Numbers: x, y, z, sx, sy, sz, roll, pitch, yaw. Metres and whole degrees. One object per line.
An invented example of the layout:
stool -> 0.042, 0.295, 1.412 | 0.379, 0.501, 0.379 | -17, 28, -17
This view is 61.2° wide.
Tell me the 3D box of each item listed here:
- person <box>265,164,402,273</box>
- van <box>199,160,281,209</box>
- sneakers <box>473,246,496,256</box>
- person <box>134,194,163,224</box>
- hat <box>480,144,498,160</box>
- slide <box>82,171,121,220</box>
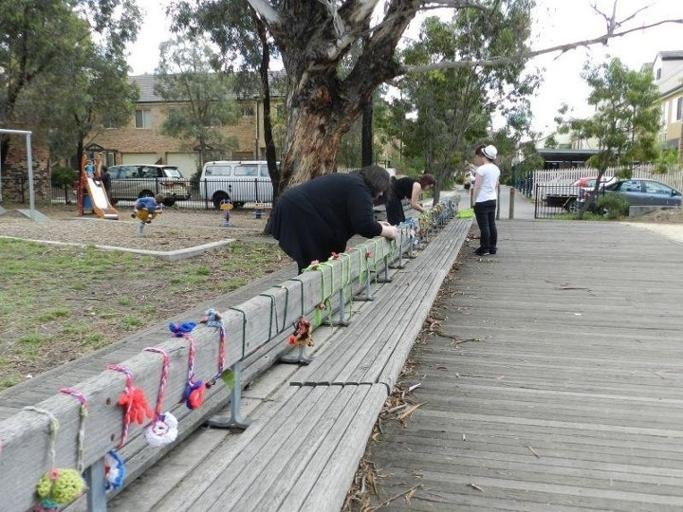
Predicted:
person -> -0.163, -0.469, 5.572 | 1.055, 1.226, 0.804 | -3, 27, -12
van -> -4.713, -3.258, 26.234 | 3.165, 1.792, 2.124 | 1, 14, 5
sneakers -> 2.518, -0.099, 10.239 | 0.386, 0.191, 0.152 | 3, 6, -1
person -> -4.882, -1.177, 14.355 | 0.870, 0.368, 0.890 | 0, 10, -26
hat -> 2.374, -1.715, 9.408 | 0.244, 0.109, 0.290 | 17, 35, -29
slide -> -8.291, -2.073, 19.899 | 0.437, 0.601, 2.681 | 9, 27, -30
